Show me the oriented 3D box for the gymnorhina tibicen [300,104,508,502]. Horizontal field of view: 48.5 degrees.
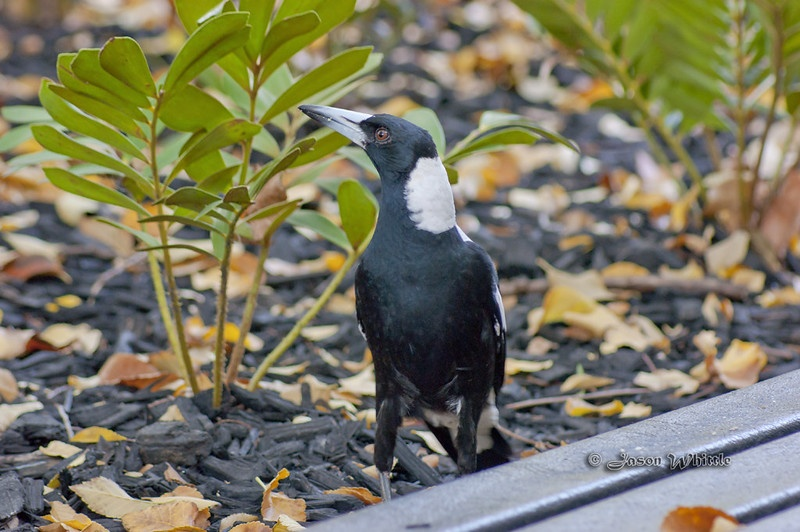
[{"bbox_3d":[0.049,0.124,2.530,0.637,1.080,0.277,7,13,7],"label":"gymnorhina tibicen"}]
